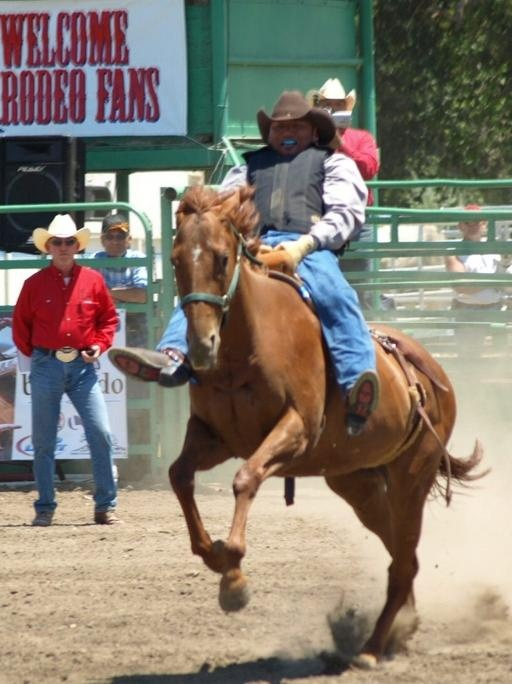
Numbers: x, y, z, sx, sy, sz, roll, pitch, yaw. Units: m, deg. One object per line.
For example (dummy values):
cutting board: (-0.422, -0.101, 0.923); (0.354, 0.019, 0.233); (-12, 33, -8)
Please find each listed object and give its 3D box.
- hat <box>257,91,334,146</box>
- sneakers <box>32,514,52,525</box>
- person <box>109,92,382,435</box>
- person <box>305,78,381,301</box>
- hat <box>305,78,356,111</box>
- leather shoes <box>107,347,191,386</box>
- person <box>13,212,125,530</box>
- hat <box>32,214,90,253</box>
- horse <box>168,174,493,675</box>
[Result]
hat: (0.259, -1.254, 6.526); (0.291, 0.154, 0.370); (-1, -26, 8)
sneakers: (-1.497, 1.232, 8.103); (0.152, 0.072, 0.058); (3, -9, 6)
person: (0.063, -0.510, 5.958); (1.474, 1.756, 1.067); (9, -7, -44)
person: (0.692, -1.143, 9.560); (0.755, 2.032, 0.665); (-5, -11, 8)
hat: (0.647, -2.069, 9.892); (0.489, 0.228, 0.591); (1, 13, 4)
leather shoes: (-0.528, 0.115, 5.732); (0.395, 0.130, 0.190); (18, 26, -3)
person: (-1.340, 0.207, 8.203); (0.772, 2.148, 0.498); (3, 8, -7)
hat: (-1.474, -0.811, 8.690); (0.357, 0.169, 0.395); (-1, -21, -9)
horse: (0.371, 0.740, 6.329); (0.857, 2.219, 3.243); (-4, -20, 32)
